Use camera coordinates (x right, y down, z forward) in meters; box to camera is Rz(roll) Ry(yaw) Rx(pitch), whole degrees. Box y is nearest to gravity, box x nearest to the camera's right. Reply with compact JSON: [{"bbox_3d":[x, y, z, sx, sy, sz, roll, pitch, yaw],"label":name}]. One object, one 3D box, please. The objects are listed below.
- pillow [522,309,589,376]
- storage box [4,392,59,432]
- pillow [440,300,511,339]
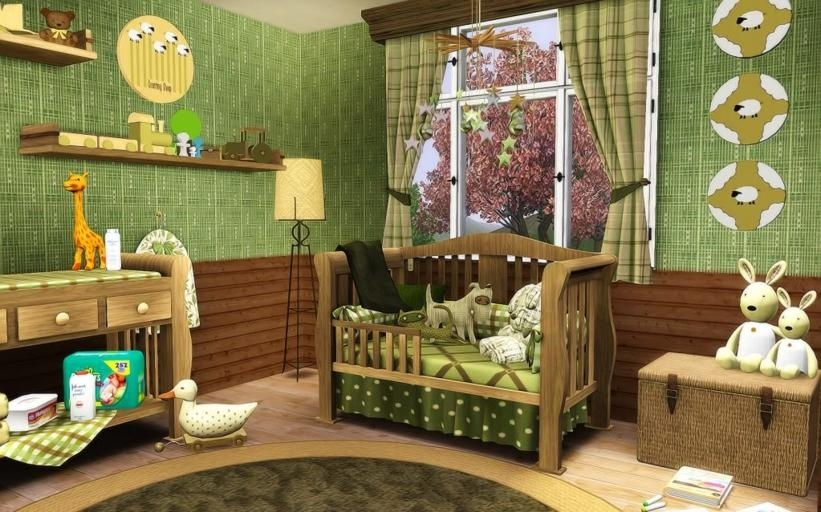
[{"bbox_3d":[0.878,0.531,3.237,0.095,0.484,0.499,5,-4,-23],"label":"pillow"},{"bbox_3d":[-2.235,0.924,3.151,0.176,0.083,0.234,1,6,-3],"label":"storage box"},{"bbox_3d":[0.502,0.452,3.787,0.373,0.318,0.254,-1,1,1],"label":"pillow"}]
